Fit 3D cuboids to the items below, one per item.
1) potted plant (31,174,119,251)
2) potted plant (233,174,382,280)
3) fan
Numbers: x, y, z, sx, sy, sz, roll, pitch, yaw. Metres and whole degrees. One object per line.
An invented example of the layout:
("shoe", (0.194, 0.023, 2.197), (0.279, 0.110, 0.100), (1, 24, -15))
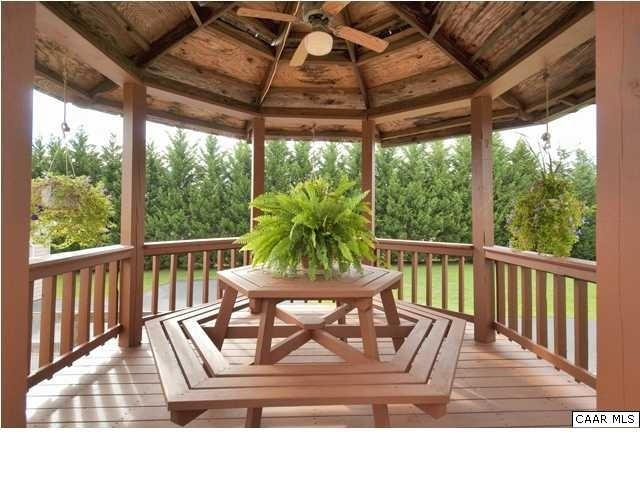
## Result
("potted plant", (-1.952, -0.233, 3.318), (0.612, 0.548, 0.595), (-1, 5, -30))
("potted plant", (-0.071, -0.054, 2.808), (0.849, 0.671, 0.571), (2, 14, 6))
("fan", (-0.069, -1.876, 3.844), (0.861, 0.363, 0.848), (5, 1, 24))
